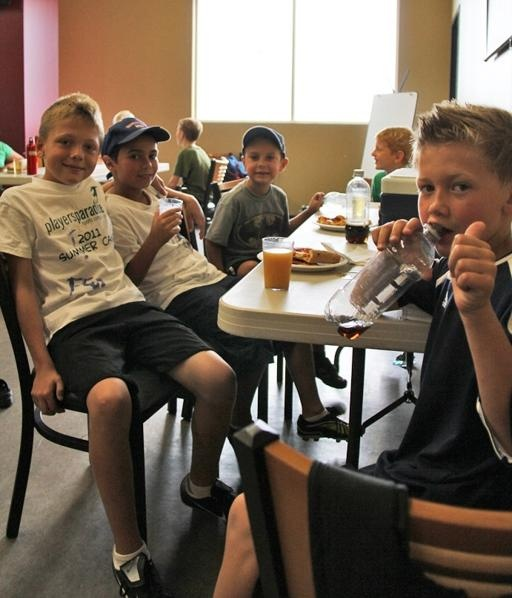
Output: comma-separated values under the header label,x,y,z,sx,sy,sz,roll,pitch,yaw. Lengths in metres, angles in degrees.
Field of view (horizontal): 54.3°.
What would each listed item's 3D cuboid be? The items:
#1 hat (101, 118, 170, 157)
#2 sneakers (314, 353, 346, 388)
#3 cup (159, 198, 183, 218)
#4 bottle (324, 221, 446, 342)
label,x,y,z,sx,sy,sz,roll,pitch,yaw
hat,-0.407,-0.554,1.671,0.156,0.127,0.232,-16,7,-33
sneakers,0.340,0.335,2.300,0.180,0.080,0.061,40,31,4
cup,-0.249,-0.268,1.484,0.056,0.056,0.060,1,2,0
bottle,0.213,-0.029,0.867,0.162,0.198,0.105,9,11,19
